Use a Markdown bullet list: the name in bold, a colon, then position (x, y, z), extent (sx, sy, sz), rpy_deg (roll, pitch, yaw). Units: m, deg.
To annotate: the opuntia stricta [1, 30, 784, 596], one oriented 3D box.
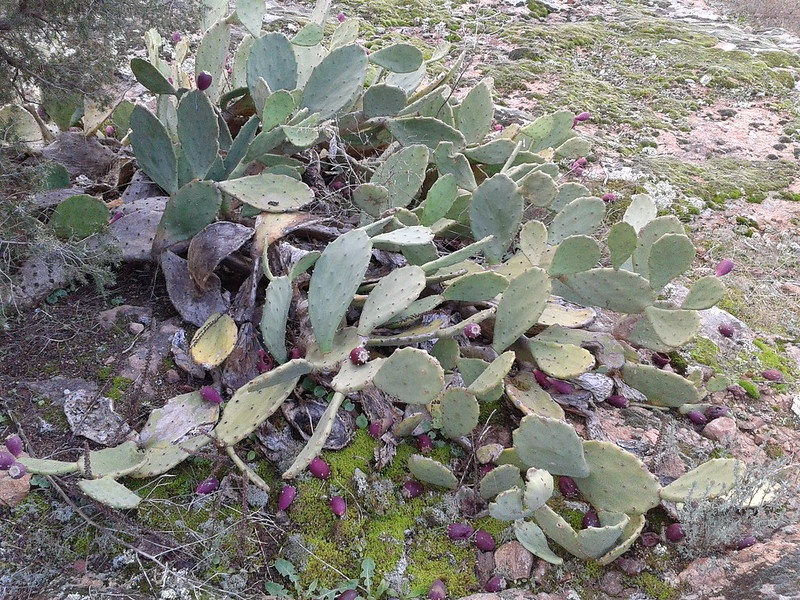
- **opuntia stricta**: position (-0.448, 0.115, 3.662), extent (2.397, 1.210, 2.723), rpy_deg (9, 61, -15)
